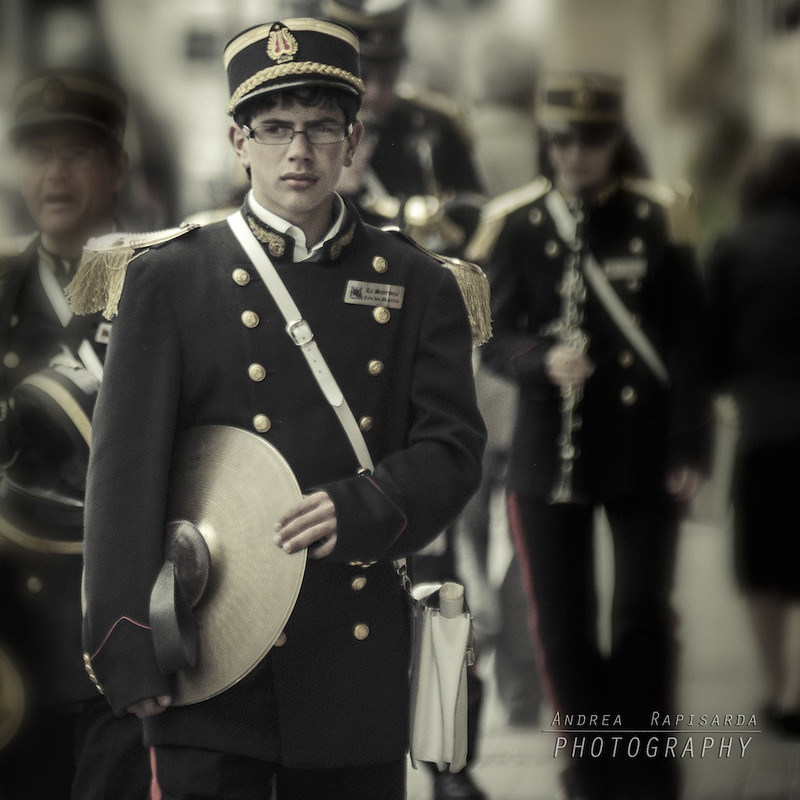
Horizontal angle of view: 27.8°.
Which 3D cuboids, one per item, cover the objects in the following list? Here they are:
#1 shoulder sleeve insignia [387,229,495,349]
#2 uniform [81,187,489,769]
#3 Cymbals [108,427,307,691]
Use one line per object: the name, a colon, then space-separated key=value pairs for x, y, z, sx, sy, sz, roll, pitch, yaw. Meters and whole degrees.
shoulder sleeve insignia: x=0.136 y=-0.326 z=4.638 sx=0.276 sy=0.350 sz=0.187 roll=15 pitch=11 yaw=25
uniform: x=-0.328 y=0.226 z=4.392 sx=1.244 sy=1.395 sz=0.809 roll=2 pitch=4 yaw=-10
Cymbals: x=-0.511 y=0.410 z=4.109 sx=0.582 sy=0.343 sz=0.849 roll=-12 pitch=31 yaw=-27
